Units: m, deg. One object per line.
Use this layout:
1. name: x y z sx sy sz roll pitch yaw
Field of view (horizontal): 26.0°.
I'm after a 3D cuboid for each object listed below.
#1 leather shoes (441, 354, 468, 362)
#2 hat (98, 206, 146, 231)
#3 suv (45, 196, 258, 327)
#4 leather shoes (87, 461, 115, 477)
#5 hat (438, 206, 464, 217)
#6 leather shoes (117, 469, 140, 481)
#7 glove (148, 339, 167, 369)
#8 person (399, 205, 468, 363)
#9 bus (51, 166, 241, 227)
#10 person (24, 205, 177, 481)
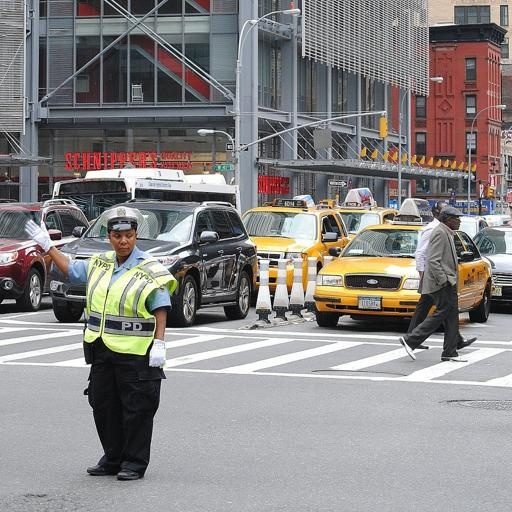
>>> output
1. leather shoes: 2.346 1.228 13.153 0.305 0.110 0.110 -1 1 -6
2. hat: -0.991 -0.281 8.348 0.456 0.208 0.509 -1 0 -9
3. suv: -1.334 0.082 17.388 1.698 1.363 3.273 0 -1 17
4. leather shoes: -0.992 1.362 7.048 0.174 0.073 0.078 3 2 -2
5. hat: 2.287 -0.512 13.017 0.200 0.100 0.146 -4 9 -16
6. leather shoes: -0.785 1.357 6.859 0.146 0.057 0.057 9 -6 -34
7. glove: -0.615 0.607 6.837 0.096 0.192 0.116 0 3 -9
8. person: 2.130 0.334 13.120 0.660 1.829 0.614 2 3 18
9. bus: -3.137 -2.114 36.056 2.424 2.360 8.136 0 0 21
10. person: -0.902 0.660 6.963 0.794 1.478 0.322 2 3 21
